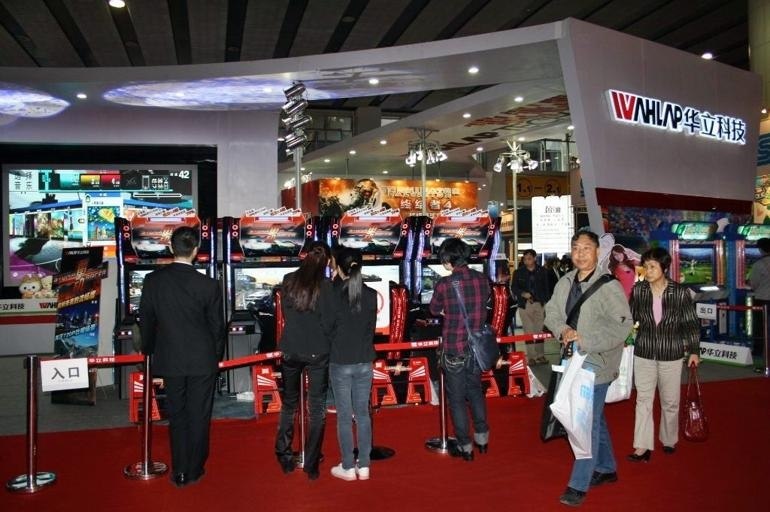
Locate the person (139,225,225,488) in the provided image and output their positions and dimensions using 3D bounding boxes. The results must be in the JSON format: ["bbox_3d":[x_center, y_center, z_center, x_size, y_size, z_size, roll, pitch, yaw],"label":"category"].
[{"bbox_3d":[-1.808,0.879,4.910,0.726,2.238,0.525,-3,8,-14],"label":"person"}]

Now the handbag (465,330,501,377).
[{"bbox_3d":[0.938,0.884,5.143,0.287,0.405,0.140,-4,8,-23],"label":"handbag"}]

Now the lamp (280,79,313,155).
[{"bbox_3d":[-1.433,-2.190,8.567,0.446,1.115,0.311,-25,49,-25],"label":"lamp"}]

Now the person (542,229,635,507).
[{"bbox_3d":[1.709,0.911,4.679,0.704,2.196,0.586,-6,9,-32],"label":"person"}]

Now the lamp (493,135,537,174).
[{"bbox_3d":[3.367,-2.619,14.350,1.219,0.740,1.134,-1,2,-43],"label":"lamp"}]

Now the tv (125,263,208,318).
[{"bbox_3d":[-2.105,0.328,5.246,0.741,0.598,0.258,0,2,-9],"label":"tv"}]
